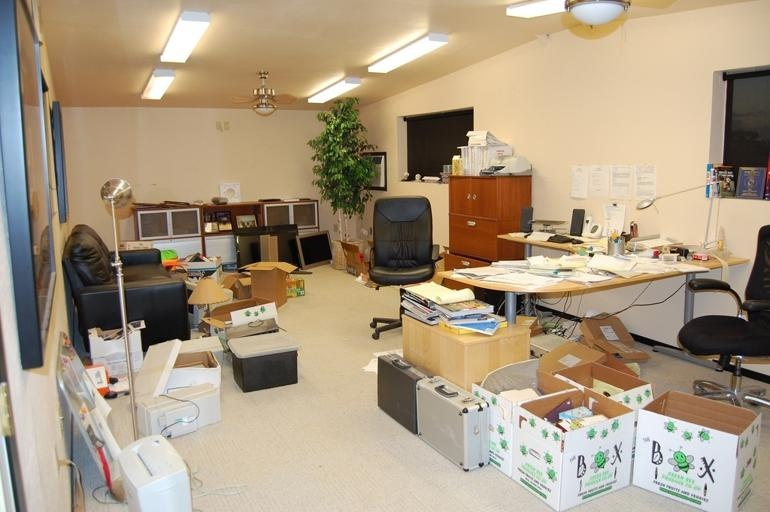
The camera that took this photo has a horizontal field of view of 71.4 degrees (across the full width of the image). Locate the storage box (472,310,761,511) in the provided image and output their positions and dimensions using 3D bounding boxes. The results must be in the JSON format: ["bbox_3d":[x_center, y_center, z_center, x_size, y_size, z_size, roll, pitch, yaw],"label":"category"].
[{"bbox_3d":[1.666,1.029,3.678,0.985,0.465,1.293,-8,12,-34],"label":"storage box"}]

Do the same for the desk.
[{"bbox_3d":[1.855,0.219,4.742,1.916,0.702,1.610,-4,8,-33],"label":"desk"}]

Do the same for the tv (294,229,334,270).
[{"bbox_3d":[-1.247,-0.090,9.254,0.060,0.468,0.699,-3,4,37],"label":"tv"}]

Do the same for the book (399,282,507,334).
[{"bbox_3d":[0.482,0.410,4.218,0.418,0.181,0.553,-4,10,-40],"label":"book"}]

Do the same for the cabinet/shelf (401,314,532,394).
[{"bbox_3d":[0.617,0.578,4.283,0.571,0.687,0.765,-11,19,-33],"label":"cabinet/shelf"}]

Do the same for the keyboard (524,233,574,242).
[{"bbox_3d":[1.749,-0.197,5.772,0.190,0.045,0.260,0,11,-23],"label":"keyboard"}]

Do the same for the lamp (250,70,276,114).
[{"bbox_3d":[-1.531,-2.048,6.733,0.280,0.595,1.213,-6,7,-11],"label":"lamp"}]

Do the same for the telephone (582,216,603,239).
[{"bbox_3d":[2.246,-0.304,5.788,0.154,0.265,0.245,1,3,-17],"label":"telephone"}]

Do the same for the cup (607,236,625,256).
[{"bbox_3d":[2.104,-0.093,4.998,0.192,0.175,0.139,1,2,1],"label":"cup"}]

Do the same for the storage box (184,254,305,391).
[{"bbox_3d":[-1.304,0.580,5.276,0.997,0.935,1.359,-4,8,-22],"label":"storage box"}]

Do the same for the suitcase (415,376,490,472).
[{"bbox_3d":[0.486,1.206,3.779,0.213,0.497,0.570,-9,12,-33],"label":"suitcase"}]

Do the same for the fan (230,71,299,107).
[{"bbox_3d":[-1.581,-2.218,7.017,0.659,0.384,0.670,9,11,43],"label":"fan"}]

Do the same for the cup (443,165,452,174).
[{"bbox_3d":[0.879,-1.223,7.552,0.112,0.122,0.187,-5,11,-22],"label":"cup"}]

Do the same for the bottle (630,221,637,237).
[{"bbox_3d":[2.534,-0.271,5.465,0.059,0.150,0.162,2,7,39],"label":"bottle"}]

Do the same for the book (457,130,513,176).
[{"bbox_3d":[1.247,-1.281,6.608,0.642,0.545,0.391,-3,8,13],"label":"book"}]

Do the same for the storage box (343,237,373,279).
[{"bbox_3d":[-0.411,0.042,8.098,0.344,0.529,0.610,-4,7,-27],"label":"storage box"}]

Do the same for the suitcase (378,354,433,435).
[{"bbox_3d":[0.164,1.081,4.123,0.177,0.486,0.533,-3,11,-30],"label":"suitcase"}]

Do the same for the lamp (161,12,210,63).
[{"bbox_3d":[-1.935,-2.132,5.198,0.269,0.092,0.906,1,-12,-23],"label":"lamp"}]

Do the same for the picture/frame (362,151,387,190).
[{"bbox_3d":[-0.170,-1.467,9.158,0.104,0.782,0.703,-4,6,-41],"label":"picture/frame"}]
